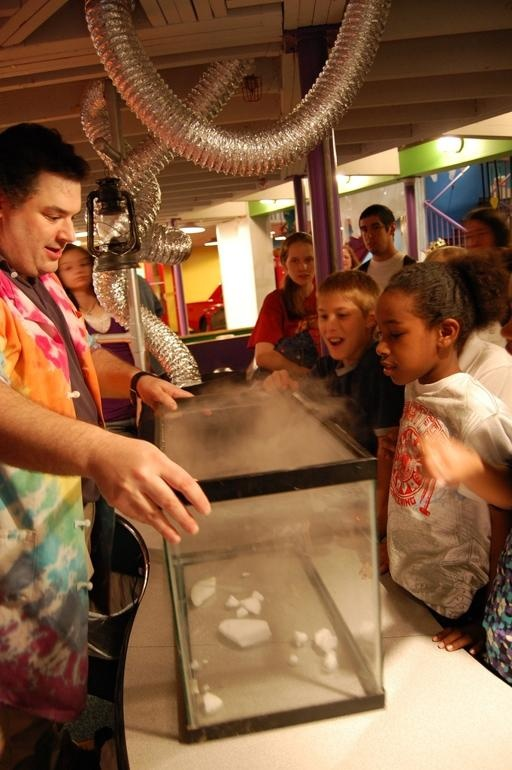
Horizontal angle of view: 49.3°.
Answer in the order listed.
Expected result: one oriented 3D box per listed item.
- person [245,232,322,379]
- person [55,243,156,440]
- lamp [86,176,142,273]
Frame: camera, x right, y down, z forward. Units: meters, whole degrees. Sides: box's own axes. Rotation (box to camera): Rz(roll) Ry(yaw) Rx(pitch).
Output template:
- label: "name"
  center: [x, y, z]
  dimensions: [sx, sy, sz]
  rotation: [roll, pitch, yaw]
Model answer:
- label: "person"
  center: [0.152, -0.477, 3.009]
  dimensions: [0.366, 0.730, 0.741]
  rotation: [-3, 8, 3]
- label: "person"
  center: [-0.837, -0.224, 3.037]
  dimensions: [0.310, 1.008, 0.778]
  rotation: [-6, 1, 30]
- label: "lamp"
  center: [-0.392, -0.439, 1.537]
  dimensions: [0.138, 0.237, 0.093]
  rotation: [-9, 15, -26]
